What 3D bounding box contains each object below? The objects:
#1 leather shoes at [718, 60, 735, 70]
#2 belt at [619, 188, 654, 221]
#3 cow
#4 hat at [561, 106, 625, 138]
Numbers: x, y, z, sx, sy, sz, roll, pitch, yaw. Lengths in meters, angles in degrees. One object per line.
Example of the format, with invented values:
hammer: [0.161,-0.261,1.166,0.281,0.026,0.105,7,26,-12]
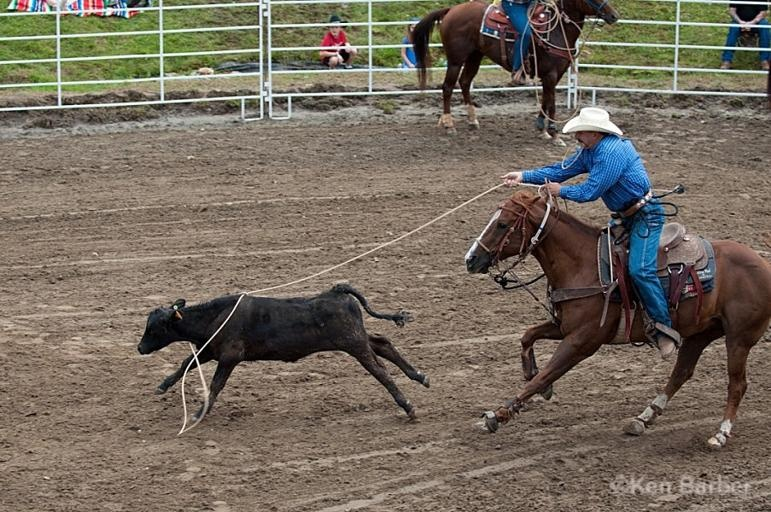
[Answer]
leather shoes: [6.502,-3.637,19.647,0.233,0.166,0.575,3,9,26]
belt: [2.450,-0.513,10.254,0.369,0.079,0.336,-26,-3,-17]
cow: [-1.139,0.955,10.452,2.710,1.322,0.444,-1,13,-2]
hat: [2.042,-1.325,10.202,0.621,0.153,0.375,4,11,0]
